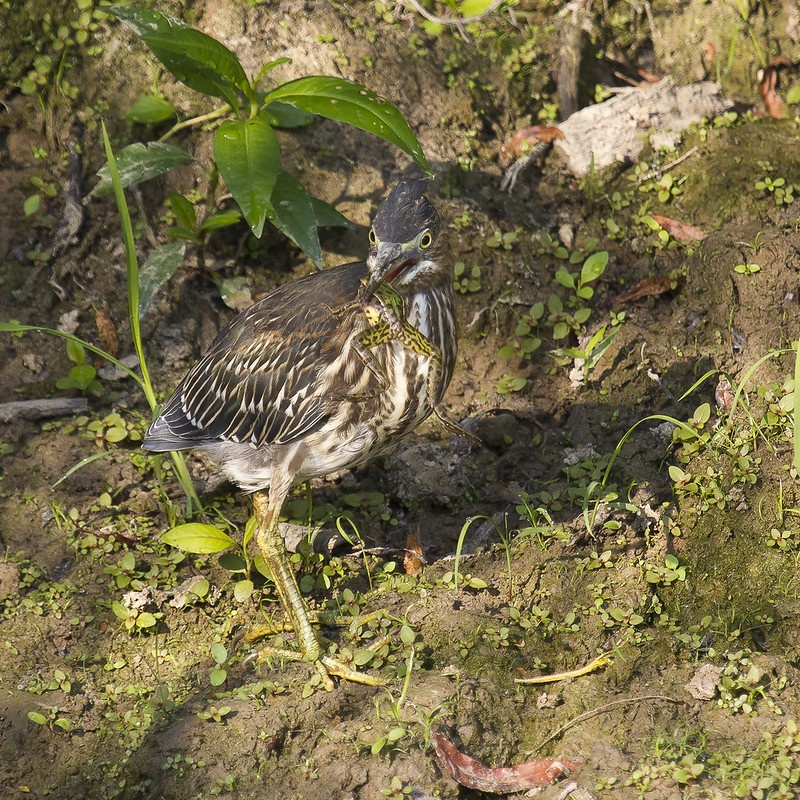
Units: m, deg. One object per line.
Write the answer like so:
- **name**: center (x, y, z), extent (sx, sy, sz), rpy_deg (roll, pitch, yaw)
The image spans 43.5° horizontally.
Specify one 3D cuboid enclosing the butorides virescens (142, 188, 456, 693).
- **butorides virescens**: center (-0.475, 0.049, 5.806), extent (1.678, 2.682, 2.480), rpy_deg (-5, 36, -9)
